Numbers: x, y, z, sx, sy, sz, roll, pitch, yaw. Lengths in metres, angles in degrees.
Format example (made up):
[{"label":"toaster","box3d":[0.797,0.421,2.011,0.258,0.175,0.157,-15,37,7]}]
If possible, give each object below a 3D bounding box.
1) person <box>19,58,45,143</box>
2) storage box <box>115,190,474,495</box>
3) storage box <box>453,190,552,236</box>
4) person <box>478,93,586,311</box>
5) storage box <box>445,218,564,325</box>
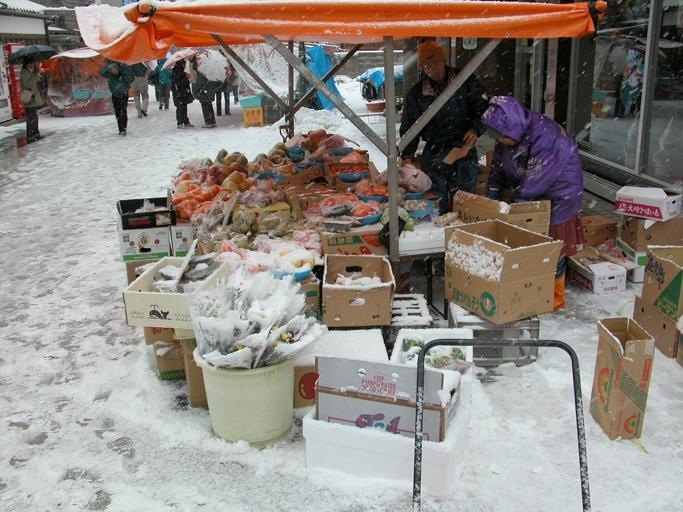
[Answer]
[{"label":"person","box3d":[-7.967,-3.966,14.434,0.686,2.074,1.252,-15,24,-26]},{"label":"storage box","box3d":[-0.387,0.760,4.219,2.700,1.077,0.978,9,25,28]},{"label":"storage box","box3d":[1.472,-0.407,5.132,0.869,0.602,0.452,0,20,9]},{"label":"person","box3d":[1.747,-0.492,5.773,0.984,2.162,0.979,1,24,-4]},{"label":"storage box","box3d":[1.333,0.132,4.709,0.716,0.580,0.904,-13,18,-30]}]
